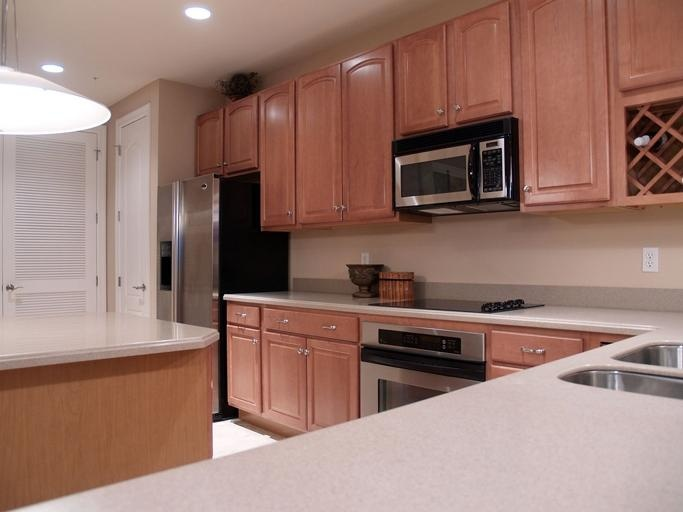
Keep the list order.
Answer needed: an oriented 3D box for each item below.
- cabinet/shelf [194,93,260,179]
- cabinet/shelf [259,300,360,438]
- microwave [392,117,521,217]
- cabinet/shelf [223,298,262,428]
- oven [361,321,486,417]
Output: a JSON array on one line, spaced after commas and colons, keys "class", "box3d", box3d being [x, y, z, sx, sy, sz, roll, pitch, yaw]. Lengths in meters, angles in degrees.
[{"class": "cabinet/shelf", "box3d": [-0.879, -0.952, 4.561, 0.319, 0.583, 0.955, -1, 2, -44]}, {"class": "cabinet/shelf", "box3d": [-0.106, 0.740, 3.488, 0.366, 0.771, 0.922, 0, -1, -45]}, {"class": "microwave", "box3d": [0.656, -0.472, 3.081, 0.720, 0.433, 0.359, -2, -2, 38]}, {"class": "cabinet/shelf", "box3d": [-0.682, 0.772, 3.850, 0.157, 0.849, 0.428, -2, 2, -32]}, {"class": "oven", "box3d": [0.470, 0.650, 2.976, 0.687, 0.587, 0.471, 5, 7, 24]}]
